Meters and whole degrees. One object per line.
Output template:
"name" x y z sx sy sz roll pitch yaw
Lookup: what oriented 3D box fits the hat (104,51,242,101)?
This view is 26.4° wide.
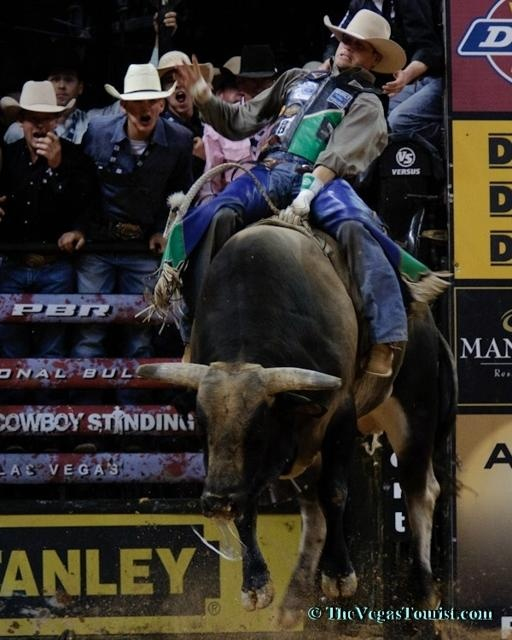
"hat" -0.683 -1.580 7.161 0.563 0.148 0.570 -5 -1 9

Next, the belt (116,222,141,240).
"belt" -0.846 -0.594 7.202 0.143 0.109 0.030 9 -3 -10

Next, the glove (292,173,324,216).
"glove" 0.278 -0.701 6.080 0.124 0.224 0.290 4 17 20

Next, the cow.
"cow" 0.290 0.737 5.991 1.064 2.567 2.216 5 18 23
